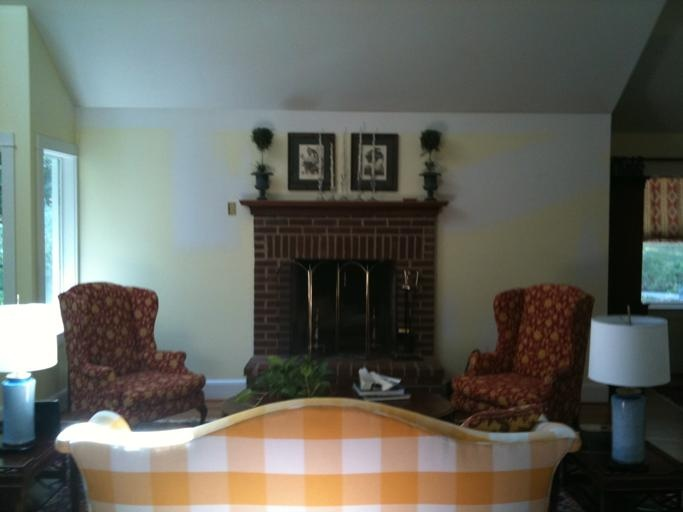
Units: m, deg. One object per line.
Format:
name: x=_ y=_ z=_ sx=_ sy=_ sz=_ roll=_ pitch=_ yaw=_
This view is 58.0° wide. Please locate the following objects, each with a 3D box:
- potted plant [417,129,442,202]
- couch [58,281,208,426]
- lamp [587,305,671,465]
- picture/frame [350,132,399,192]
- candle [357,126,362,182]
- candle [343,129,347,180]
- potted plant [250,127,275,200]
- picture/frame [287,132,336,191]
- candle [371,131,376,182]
potted plant: x=0.842 y=-0.858 z=5.767 sx=0.203 sy=0.669 sz=0.228 roll=-2 pitch=1 yaw=9
couch: x=-1.692 y=0.747 z=5.288 sx=1.123 sy=1.499 sz=1.113 roll=-7 pitch=-8 yaw=34
lamp: x=1.644 y=0.737 z=3.529 sx=0.416 sy=0.860 sz=0.383 roll=-2 pitch=1 yaw=23
picture/frame: x=0.323 y=-0.919 z=5.848 sx=0.519 sy=0.650 sz=0.046 roll=0 pitch=3 yaw=-2
candle: x=0.172 y=-0.941 z=5.843 sx=0.049 sy=0.477 sz=0.026 roll=-2 pitch=2 yaw=21
candle: x=0.035 y=-0.946 z=5.859 sx=0.049 sy=0.471 sz=0.016 roll=-2 pitch=2 yaw=1
potted plant: x=-0.727 y=-0.873 z=5.738 sx=0.207 sy=0.707 sz=0.219 roll=-2 pitch=1 yaw=-5
picture/frame: x=-0.300 y=-0.919 z=5.832 sx=0.512 sy=0.647 sz=0.045 roll=0 pitch=1 yaw=-3
candle: x=0.306 y=-0.903 z=5.841 sx=0.052 sy=0.528 sz=0.019 roll=-2 pitch=2 yaw=3
